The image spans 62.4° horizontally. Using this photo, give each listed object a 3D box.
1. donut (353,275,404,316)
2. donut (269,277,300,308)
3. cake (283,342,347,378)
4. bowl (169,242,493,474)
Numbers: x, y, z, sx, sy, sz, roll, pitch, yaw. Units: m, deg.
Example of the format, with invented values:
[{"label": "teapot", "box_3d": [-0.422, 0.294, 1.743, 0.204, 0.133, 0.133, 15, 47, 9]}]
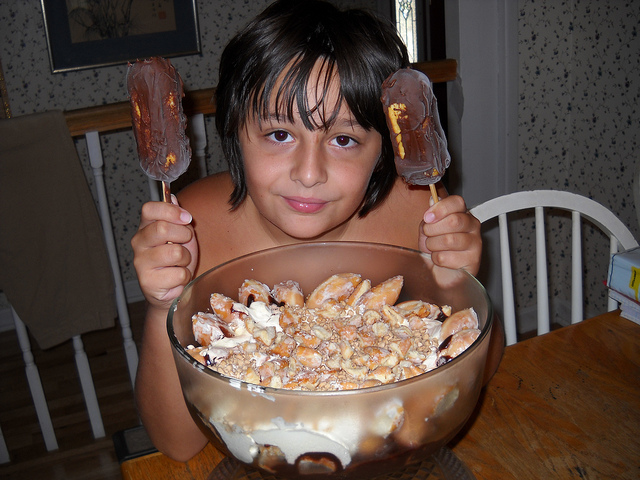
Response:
[{"label": "donut", "box_3d": [0.104, 0.097, 0.859, 0.084, 0.031, 0.044, -15, 10, -28]}, {"label": "donut", "box_3d": [-0.056, 0.087, 0.849, 0.036, 0.027, 0.051, 10, 69, -10]}, {"label": "cake", "box_3d": [-0.011, 0.169, 0.744, 0.069, 0.018, 0.044, -17, 57, -28]}, {"label": "bowl", "box_3d": [0.019, 0.152, 0.746, 0.417, 0.174, 0.325, 3, 28, 13]}]
